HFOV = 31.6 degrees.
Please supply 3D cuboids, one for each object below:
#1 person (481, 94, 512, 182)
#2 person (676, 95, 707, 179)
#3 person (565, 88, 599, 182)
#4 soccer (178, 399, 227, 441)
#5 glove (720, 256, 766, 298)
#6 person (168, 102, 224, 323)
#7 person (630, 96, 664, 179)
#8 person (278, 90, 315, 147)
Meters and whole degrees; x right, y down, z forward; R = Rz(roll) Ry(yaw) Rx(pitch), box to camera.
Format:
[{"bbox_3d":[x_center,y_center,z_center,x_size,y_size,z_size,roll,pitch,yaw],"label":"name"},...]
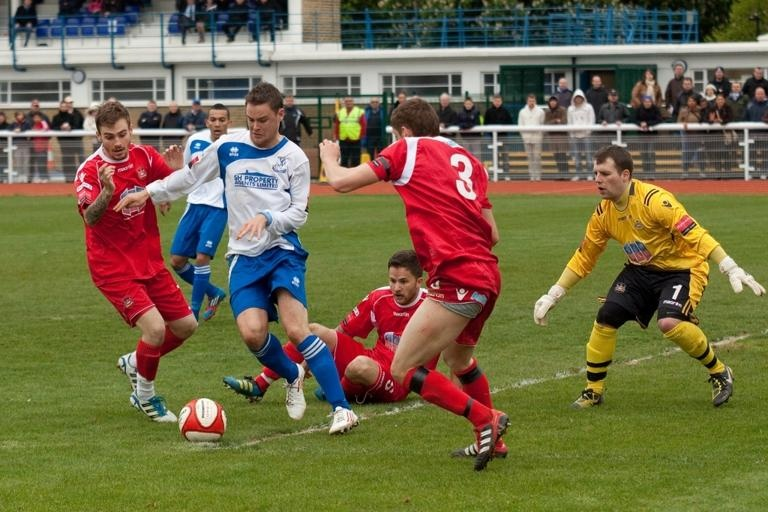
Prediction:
[{"bbox_3d":[2.599,-2.863,31.681,0.618,1.719,0.567,4,1,18],"label":"person"},{"bbox_3d":[6.734,-2.647,29.602,0.630,1.613,0.472,0,0,4],"label":"person"},{"bbox_3d":[4.449,-2.686,30.375,0.715,2.040,0.614,-4,6,18],"label":"person"},{"bbox_3d":[-2.084,1.893,15.661,0.596,0.548,0.560,3,16,-18],"label":"soccer"},{"bbox_3d":[4.241,0.232,16.140,0.496,0.499,0.979,0,6,13],"label":"glove"},{"bbox_3d":[-2.559,-0.622,19.096,1.036,2.939,0.998,6,-4,-6],"label":"person"},{"bbox_3d":[5.793,-2.608,29.704,0.641,1.727,0.569,1,7,22],"label":"person"},{"bbox_3d":[-2.138,-2.898,31.619,1.054,1.496,0.468,0,0,-21],"label":"person"}]
